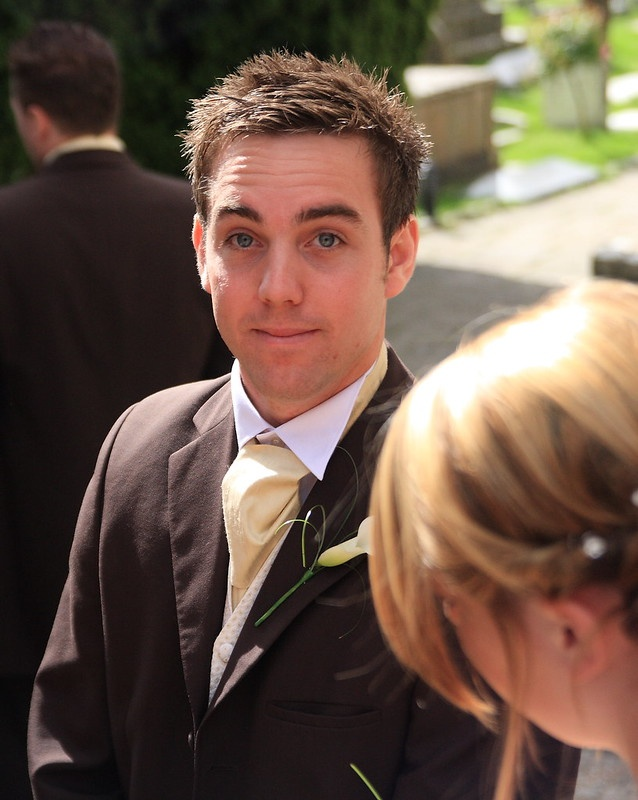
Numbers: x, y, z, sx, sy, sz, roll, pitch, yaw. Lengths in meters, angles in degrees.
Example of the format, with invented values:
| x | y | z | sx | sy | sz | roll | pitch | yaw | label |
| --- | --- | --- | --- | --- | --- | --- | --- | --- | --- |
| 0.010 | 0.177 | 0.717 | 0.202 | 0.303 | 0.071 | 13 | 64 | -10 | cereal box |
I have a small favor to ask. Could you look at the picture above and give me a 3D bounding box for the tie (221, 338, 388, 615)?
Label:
| x | y | z | sx | sy | sz | roll | pitch | yaw | label |
| --- | --- | --- | --- | --- | --- | --- | --- | --- | --- |
| -0.043 | 0.117 | 2.128 | 0.360 | 0.513 | 0.248 | 10 | 14 | 23 | tie |
